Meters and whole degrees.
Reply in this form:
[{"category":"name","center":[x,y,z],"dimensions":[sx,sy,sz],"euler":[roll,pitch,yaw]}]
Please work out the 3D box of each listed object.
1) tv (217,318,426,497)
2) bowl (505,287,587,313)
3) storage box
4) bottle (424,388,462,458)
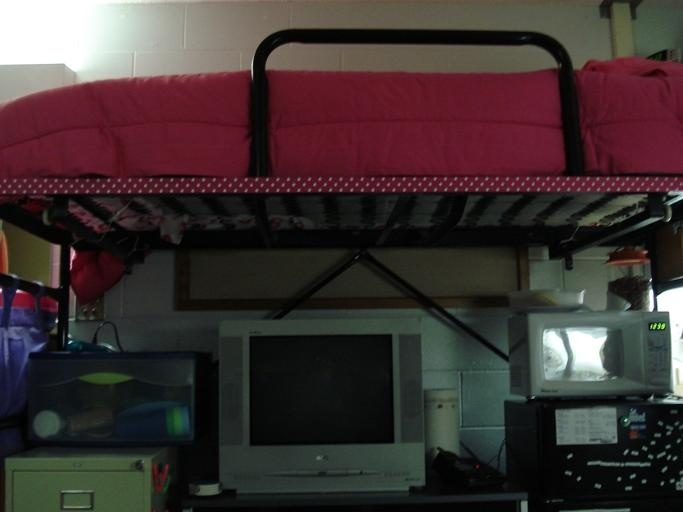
[{"category":"tv","center":[-0.089,0.665,4.019],"dimensions":[0.908,0.767,0.076],"euler":[-2,-12,-1]},{"category":"bowl","center":[0.978,0.212,4.276],"dimensions":[0.350,0.121,0.120],"euler":[-6,-13,13]},{"category":"storage box","center":[-1.013,0.563,4.104],"dimensions":[0.469,0.330,0.511],"euler":[1,-5,-5]},{"category":"bottle","center":[0.479,0.788,4.281],"dimensions":[0.169,0.299,0.079],"euler":[-1,-12,-5]}]
